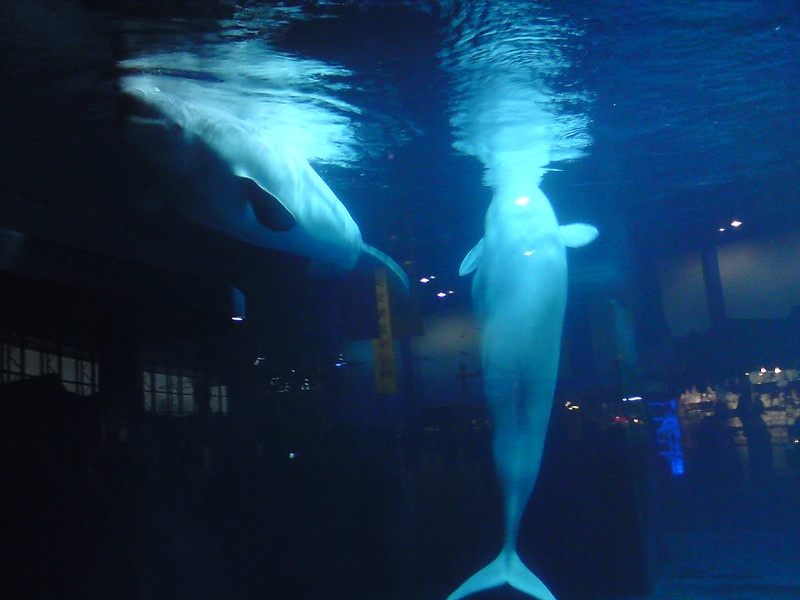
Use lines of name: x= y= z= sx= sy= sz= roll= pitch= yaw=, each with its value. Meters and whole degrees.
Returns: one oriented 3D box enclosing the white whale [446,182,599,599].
white whale: x=0.978 y=0.564 z=6.114 sx=1.160 sy=2.709 sz=0.622 roll=5 pitch=-1 yaw=18
